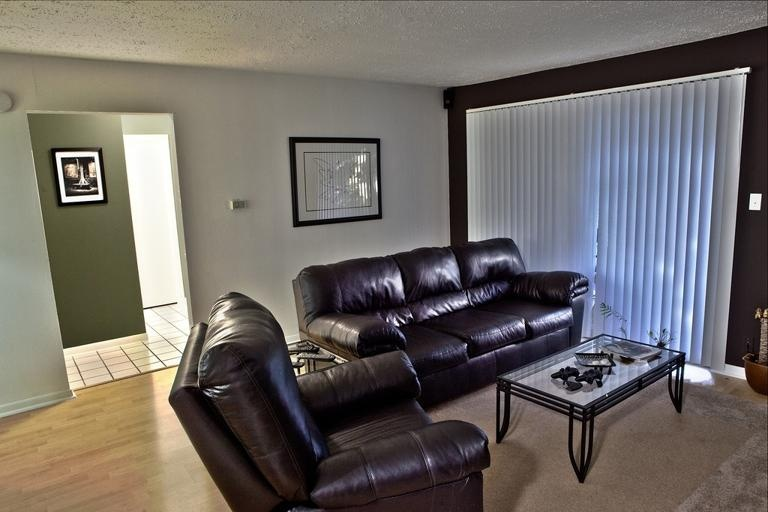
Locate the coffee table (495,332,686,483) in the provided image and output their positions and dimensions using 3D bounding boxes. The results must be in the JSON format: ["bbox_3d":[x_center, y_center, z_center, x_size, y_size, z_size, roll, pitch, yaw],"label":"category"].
[{"bbox_3d":[1.496,0.729,3.986,1.596,0.567,0.894,-12,13,-40],"label":"coffee table"}]

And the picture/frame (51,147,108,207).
[{"bbox_3d":[-3.501,-0.906,5.866,0.637,0.842,0.064,-7,6,-35],"label":"picture/frame"}]

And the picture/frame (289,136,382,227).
[{"bbox_3d":[-0.632,-0.921,6.180,1.107,0.944,0.052,-6,7,-36],"label":"picture/frame"}]

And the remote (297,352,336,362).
[{"bbox_3d":[-0.558,0.830,4.265,0.206,0.034,0.120,0,0,13],"label":"remote"}]
